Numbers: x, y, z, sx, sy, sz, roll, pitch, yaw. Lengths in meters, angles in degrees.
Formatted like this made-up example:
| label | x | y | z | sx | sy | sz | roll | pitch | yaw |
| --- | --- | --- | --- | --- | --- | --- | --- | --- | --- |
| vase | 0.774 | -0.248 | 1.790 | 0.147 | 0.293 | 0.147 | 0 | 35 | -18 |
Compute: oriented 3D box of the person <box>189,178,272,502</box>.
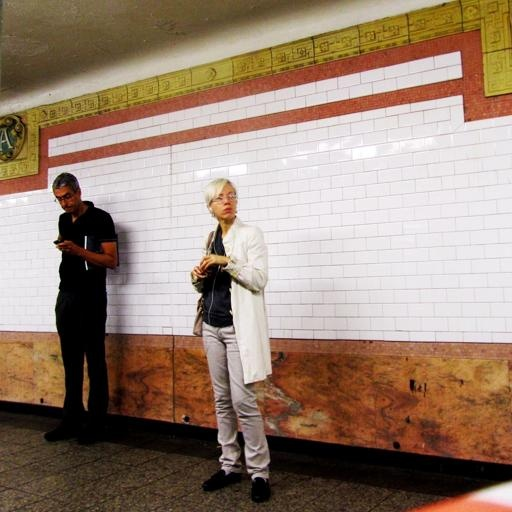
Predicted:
| label | x | y | z | sx | sy | sz | roll | pitch | yaw |
| --- | --- | --- | --- | --- | --- | --- | --- | --- | --- |
| person | -0.145 | 0.477 | 3.138 | 0.424 | 1.917 | 0.484 | -1 | -5 | -23 |

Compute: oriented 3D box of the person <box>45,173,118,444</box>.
| label | x | y | z | sx | sy | sz | roll | pitch | yaw |
| --- | --- | --- | --- | --- | --- | --- | --- | --- | --- |
| person | -1.518 | 0.425 | 4.320 | 0.602 | 2.235 | 0.519 | -4 | -4 | 13 |

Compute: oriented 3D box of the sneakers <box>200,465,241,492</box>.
| label | x | y | z | sx | sy | sz | roll | pitch | yaw |
| --- | --- | --- | --- | --- | --- | --- | --- | --- | --- |
| sneakers | -0.218 | 1.395 | 3.158 | 0.254 | 0.069 | 0.087 | 8 | -17 | -43 |

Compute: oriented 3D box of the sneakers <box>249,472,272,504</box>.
| label | x | y | z | sx | sy | sz | roll | pitch | yaw |
| --- | --- | --- | --- | --- | --- | --- | --- | --- | --- |
| sneakers | 0.024 | 1.364 | 2.980 | 0.144 | 0.080 | 0.237 | 0 | -17 | 1 |
